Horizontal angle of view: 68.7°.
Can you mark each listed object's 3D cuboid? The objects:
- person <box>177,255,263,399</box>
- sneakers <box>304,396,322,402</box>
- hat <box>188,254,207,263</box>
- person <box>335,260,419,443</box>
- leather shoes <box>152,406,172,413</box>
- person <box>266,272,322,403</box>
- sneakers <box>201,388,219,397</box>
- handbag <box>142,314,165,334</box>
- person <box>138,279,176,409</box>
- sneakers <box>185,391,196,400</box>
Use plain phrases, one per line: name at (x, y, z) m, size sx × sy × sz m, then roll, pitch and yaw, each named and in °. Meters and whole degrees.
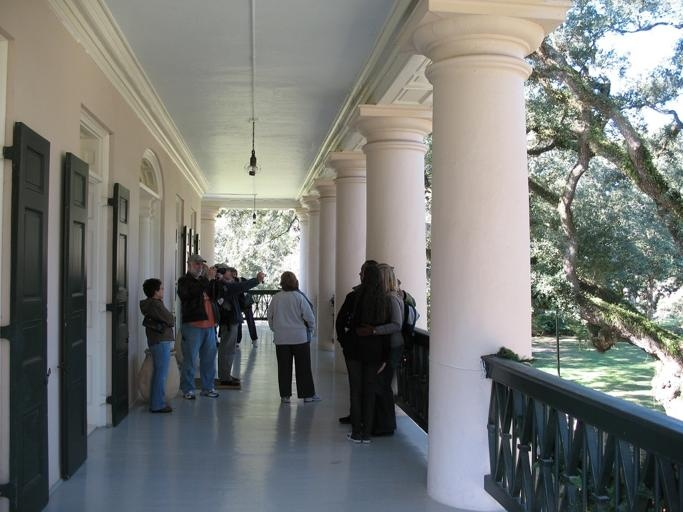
person at (-1.996, 1.065, 7.670) m, size 0.952 × 2.131 × 1.091 m, roll 0°, pitch -2°, yaw 6°
sneakers at (-0.430, 2.122, 7.445) m, size 0.246 × 0.125 × 0.092 m, roll -1°, pitch 1°, yaw -28°
hat at (-2.227, 0.042, 7.474) m, size 0.287 × 0.116 × 0.194 m, roll -2°, pitch -5°, yaw 23°
person at (0.328, 1.085, 5.658) m, size 0.728 × 2.065 × 0.541 m, roll 1°, pitch -2°, yaw -9°
leather shoes at (-2.404, 2.076, 6.745) m, size 0.263 × 0.117 × 0.093 m, roll -3°, pitch -3°, yaw -4°
person at (-0.732, 1.186, 7.211) m, size 0.671 × 1.924 × 0.566 m, roll 1°, pitch -2°, yaw -3°
sneakers at (-1.995, 2.085, 7.595) m, size 0.265 × 0.128 × 0.100 m, roll -1°, pitch -4°, yaw 8°
handbag at (-2.493, 0.903, 6.660) m, size 0.267 × 0.216 × 0.083 m, roll 17°, pitch 12°, yaw 17°
person at (-2.512, 1.213, 6.771) m, size 0.432 × 1.794 × 0.498 m, roll 1°, pitch -2°, yaw -22°
sneakers at (-2.262, 2.053, 7.401) m, size 0.197 × 0.119 × 0.190 m, roll 1°, pitch -2°, yaw -7°
